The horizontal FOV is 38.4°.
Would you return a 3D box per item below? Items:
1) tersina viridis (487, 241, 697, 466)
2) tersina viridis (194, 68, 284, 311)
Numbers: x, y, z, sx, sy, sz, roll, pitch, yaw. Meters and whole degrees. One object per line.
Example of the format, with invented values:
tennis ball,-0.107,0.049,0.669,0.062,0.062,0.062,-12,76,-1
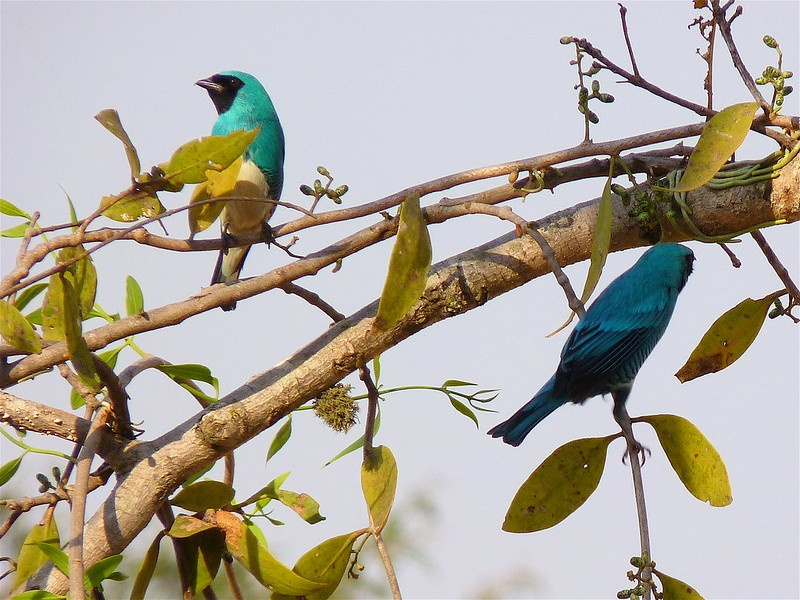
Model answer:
tersina viridis,0.518,0.134,3.023,0.634,0.225,0.510,-11,-87,-13
tersina viridis,-0.662,-0.486,4.692,0.325,0.642,1.051,-8,-11,-12
